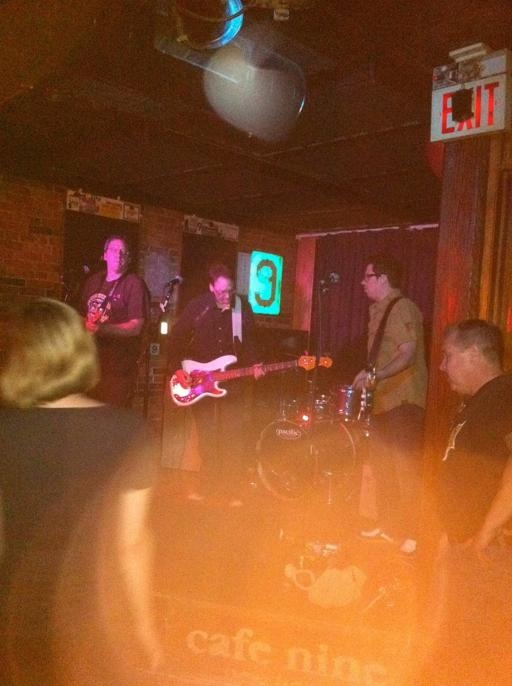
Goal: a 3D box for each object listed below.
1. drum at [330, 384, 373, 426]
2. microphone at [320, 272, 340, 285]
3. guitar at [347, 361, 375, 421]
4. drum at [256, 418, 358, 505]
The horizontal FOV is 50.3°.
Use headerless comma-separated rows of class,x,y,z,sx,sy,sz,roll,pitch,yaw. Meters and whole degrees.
drum,0.679,0.438,3.840,0.220,0.238,0.278,-3,-8,27
microphone,0.968,-0.839,7.130,0.256,0.147,0.370,-7,1,19
guitar,0.765,0.359,3.887,0.175,0.378,0.279,5,7,19
drum,0.434,0.855,4.229,0.638,0.643,0.700,10,4,18
